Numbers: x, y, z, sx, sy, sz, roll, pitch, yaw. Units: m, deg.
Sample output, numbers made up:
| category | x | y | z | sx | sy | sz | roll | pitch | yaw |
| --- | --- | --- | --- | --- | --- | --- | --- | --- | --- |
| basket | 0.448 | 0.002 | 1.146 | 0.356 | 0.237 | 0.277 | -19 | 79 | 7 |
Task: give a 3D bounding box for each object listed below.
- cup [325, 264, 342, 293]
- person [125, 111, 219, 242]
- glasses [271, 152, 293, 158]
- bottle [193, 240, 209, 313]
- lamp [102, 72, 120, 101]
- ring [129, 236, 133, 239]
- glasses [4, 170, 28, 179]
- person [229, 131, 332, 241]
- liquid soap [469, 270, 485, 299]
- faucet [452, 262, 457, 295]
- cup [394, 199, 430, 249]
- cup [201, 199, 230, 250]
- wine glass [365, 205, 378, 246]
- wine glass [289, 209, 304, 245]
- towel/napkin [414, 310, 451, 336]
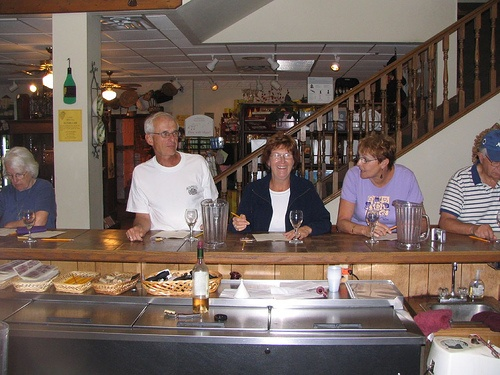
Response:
| category | x | y | z | sx | sy | sz | roll | pitch | yaw |
| --- | --- | --- | --- | --- | --- | --- | --- | --- | --- |
| cup | 0.500 | 0.532 | 2.816 | 0.083 | 0.157 | 0.152 | 0 | 2 | 12 |
| person | -0.620 | -0.135 | 3.902 | 0.737 | 0.950 | 0.348 | -1 | 2 | -14 |
| glasses | 0.244 | -0.243 | 3.641 | 0.141 | 0.049 | 0.027 | 0 | 2 | 5 |
| bottle | -0.261 | 0.489 | 2.548 | 0.082 | 0.382 | 0.092 | -1 | 2 | -10 |
| lamp | -2.934 | -2.168 | 10.135 | 0.359 | 0.710 | 2.121 | -1 | 2 | -15 |
| ring | -0.822 | 0.348 | 3.309 | 0.016 | 0.015 | 0.004 | -13 | -17 | -8 |
| glasses | -1.967 | -0.103 | 3.989 | 0.189 | 0.046 | 0.084 | 1 | 2 | 26 |
| person | 0.236 | 0.141 | 3.713 | 0.836 | 1.063 | 0.604 | 0 | 11 | 1 |
| liquid soap | 1.491 | 0.643 | 3.152 | 0.082 | 0.193 | 0.077 | 0 | 2 | 14 |
| faucet | 1.340 | 0.599 | 3.135 | 0.038 | 0.230 | 0.094 | 0 | 2 | 24 |
| cup | 1.107 | 0.240 | 3.295 | 0.217 | 0.309 | 0.482 | 0 | 2 | 20 |
| cup | -0.229 | 0.249 | 3.162 | 0.162 | 0.294 | 0.200 | -1 | 2 | -4 |
| wine glass | 0.855 | 0.275 | 3.344 | 0.075 | 0.211 | 0.300 | 0 | 2 | 15 |
| wine glass | 0.323 | 0.265 | 3.317 | 0.087 | 0.225 | 0.238 | 0 | 2 | 5 |
| towel/napkin | 1.063 | 0.773 | 2.778 | 0.216 | 0.063 | 0.163 | -7 | 31 | 3 |
